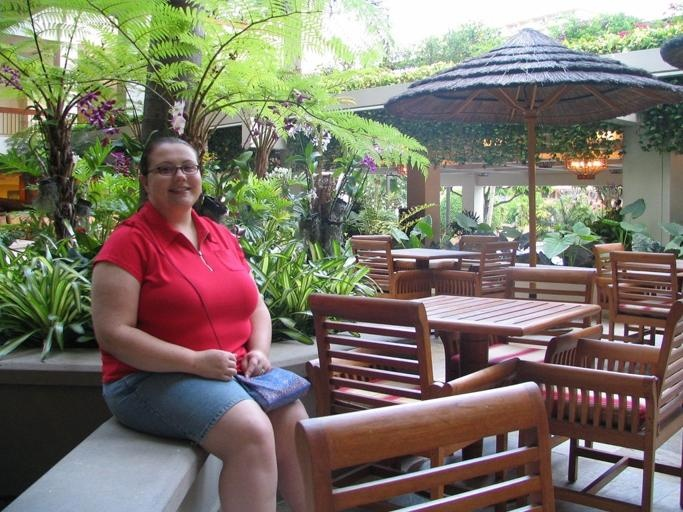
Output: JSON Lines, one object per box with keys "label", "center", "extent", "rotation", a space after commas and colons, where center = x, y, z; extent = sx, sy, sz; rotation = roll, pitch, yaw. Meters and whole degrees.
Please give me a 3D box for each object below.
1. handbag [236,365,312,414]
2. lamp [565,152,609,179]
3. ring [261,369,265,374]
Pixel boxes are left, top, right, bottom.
{"label": "handbag", "center": [-0.252, 0.470, 1.807], "extent": [0.176, 0.062, 0.183], "rotation": [31, 21, 30]}
{"label": "lamp", "center": [4.959, -1.834, 10.105], "extent": [0.826, 0.442, 0.826], "rotation": [0, -1, 11]}
{"label": "ring", "center": [-0.297, 0.436, 1.892], "extent": [0.015, 0.005, 0.012], "rotation": [-28, 30, -24]}
